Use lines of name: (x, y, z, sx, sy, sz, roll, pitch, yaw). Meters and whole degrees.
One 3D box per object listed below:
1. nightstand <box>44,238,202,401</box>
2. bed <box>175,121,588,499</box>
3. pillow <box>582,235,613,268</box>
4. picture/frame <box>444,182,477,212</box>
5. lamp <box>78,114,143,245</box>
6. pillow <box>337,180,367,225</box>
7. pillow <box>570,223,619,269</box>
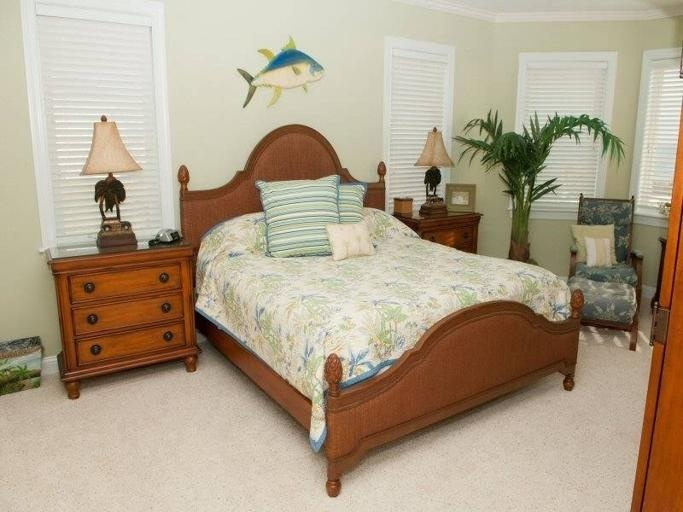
nightstand: (-1.746, 0.378, 3.986, 1.045, 1.177, 0.615, -8, 25, -31)
bed: (0.194, -0.024, 4.217, 2.459, 2.199, 2.782, -8, 15, -30)
pillow: (2.690, -0.034, 5.168, 0.281, 0.297, 0.104, 2, -11, -9)
picture/frame: (1.345, -0.663, 5.577, 0.338, 0.382, 0.027, 2, 8, 13)
lamp: (-1.817, -0.592, 3.874, 0.413, 0.997, 0.479, -8, 14, -28)
pillow: (0.043, -0.449, 4.424, 0.280, 0.496, 0.119, 0, 43, 6)
pillow: (2.681, -0.134, 5.217, 0.439, 0.470, 0.136, -1, -13, -13)
